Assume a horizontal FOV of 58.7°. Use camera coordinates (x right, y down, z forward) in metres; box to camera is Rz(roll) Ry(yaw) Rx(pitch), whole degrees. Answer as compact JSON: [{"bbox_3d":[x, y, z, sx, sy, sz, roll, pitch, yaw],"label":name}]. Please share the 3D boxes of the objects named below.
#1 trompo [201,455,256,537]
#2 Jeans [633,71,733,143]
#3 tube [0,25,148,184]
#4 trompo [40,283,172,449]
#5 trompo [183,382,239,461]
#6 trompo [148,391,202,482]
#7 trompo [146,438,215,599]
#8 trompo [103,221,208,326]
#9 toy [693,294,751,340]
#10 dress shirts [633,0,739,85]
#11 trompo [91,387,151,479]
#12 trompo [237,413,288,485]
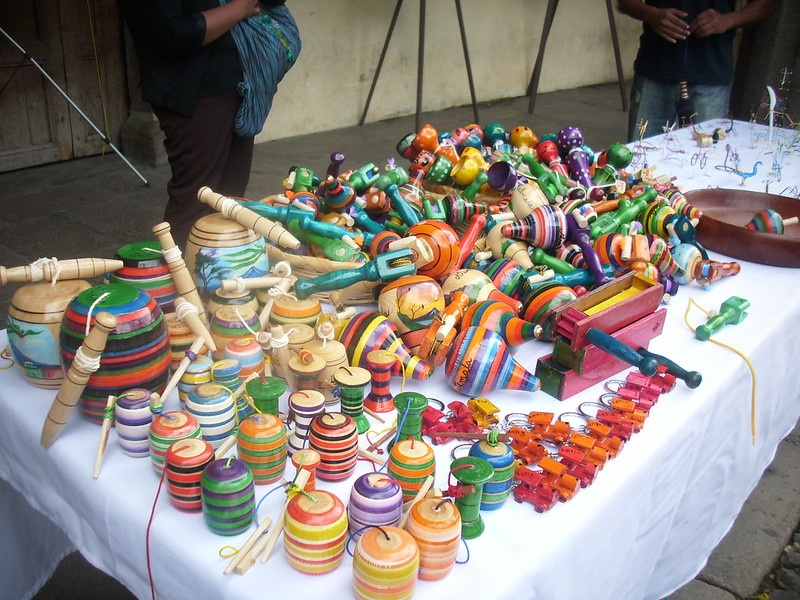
[{"bbox_3d":[-0.375,0.433,1.546,0.105,0.174,0.105,13,23,25],"label":"trompo"},{"bbox_3d":[1.769,-1.210,4.430,0.445,0.631,0.221,15,46,24],"label":"Jeans"},{"bbox_3d":[-2.746,-1.634,5.897,0.193,2.020,0.078,-26,22,38],"label":"tube"},{"bbox_3d":[-0.709,0.161,1.829,0.340,0.367,0.255,4,1,10],"label":"trompo"},{"bbox_3d":[-0.448,0.268,1.730,0.077,0.130,0.078,-5,-3,36],"label":"trompo"},{"bbox_3d":[-0.533,0.328,1.686,0.113,0.196,0.113,14,27,16],"label":"trompo"},{"bbox_3d":[-0.497,0.505,1.628,0.166,0.350,0.151,1,23,6],"label":"trompo"},{"bbox_3d":[-0.613,-0.085,1.953,0.124,0.232,0.229,-13,4,-15],"label":"trompo"},{"bbox_3d":[1.048,0.044,2.346,0.088,0.108,0.331,16,32,43],"label":"toy"},{"bbox_3d":[1.746,-1.578,4.339,0.471,0.657,0.355,12,49,17],"label":"dress shirts"},{"bbox_3d":[-0.668,0.327,1.715,0.098,0.170,0.162,25,34,32],"label":"trompo"},{"bbox_3d":[-0.317,0.353,1.679,0.104,0.149,0.105,-15,18,-31],"label":"trompo"}]
